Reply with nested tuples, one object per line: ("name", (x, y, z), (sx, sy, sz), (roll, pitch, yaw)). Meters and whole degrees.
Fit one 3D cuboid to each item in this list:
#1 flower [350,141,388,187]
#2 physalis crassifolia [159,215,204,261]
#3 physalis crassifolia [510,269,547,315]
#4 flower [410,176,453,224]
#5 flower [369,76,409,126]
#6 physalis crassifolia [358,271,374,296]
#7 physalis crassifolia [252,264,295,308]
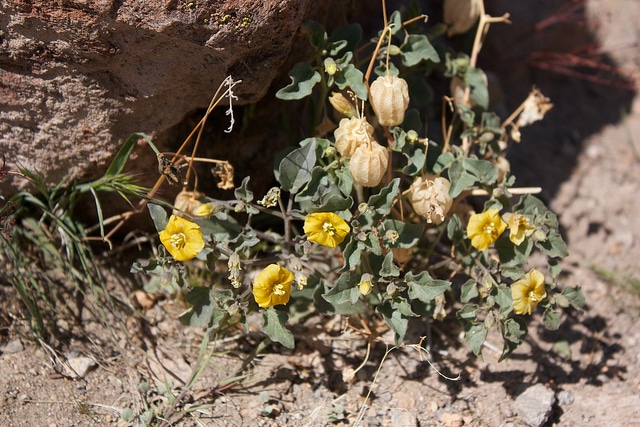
("flower", (0.228, -0.245, 3.082), (0.185, 0.213, 0.103), (0, 27, 2))
("physalis crassifolia", (-0.683, 0.096, 3.018), (0.169, 0.087, 0.193), (25, 26, 8))
("physalis crassifolia", (1.008, 0.384, 3.122), (0.198, 0.208, 0.079), (-18, 28, -26))
("flower", (0.567, -0.082, 3.246), (0.186, 0.261, 0.156), (-12, -8, 15))
("flower", (0.338, -0.539, 3.148), (0.152, 0.205, 0.166), (-4, 7, 26))
("physalis crassifolia", (0.219, 0.345, 3.104), (0.076, 0.098, 0.044), (6, 4, -24))
("physalis crassifolia", (-0.258, 0.336, 3.080), (0.089, 0.185, 0.211), (23, 47, -11))
